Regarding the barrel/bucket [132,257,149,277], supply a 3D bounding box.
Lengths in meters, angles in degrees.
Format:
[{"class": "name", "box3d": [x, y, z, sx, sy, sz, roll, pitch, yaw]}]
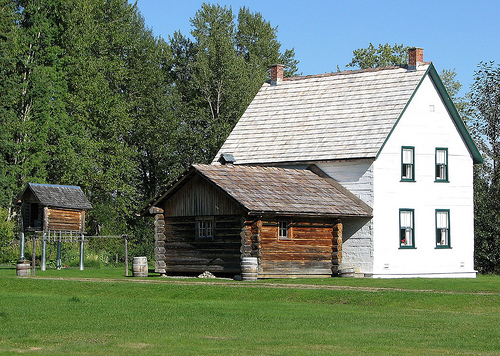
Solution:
[{"class": "barrel/bucket", "box3d": [-6.296, 4.990, 44.846, 0.986, 1.395, 0.995, 0, -4, 0]}]

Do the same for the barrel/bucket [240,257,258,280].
[{"class": "barrel/bucket", "box3d": [-0.109, 4.736, 41.711, 1.001, 1.069, 0.987, 0, -6, 0]}]

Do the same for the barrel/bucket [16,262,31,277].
[{"class": "barrel/bucket", "box3d": [-12.512, 5.003, 43.768, 0.818, 0.852, 0.841, 1, -2, 0]}]
